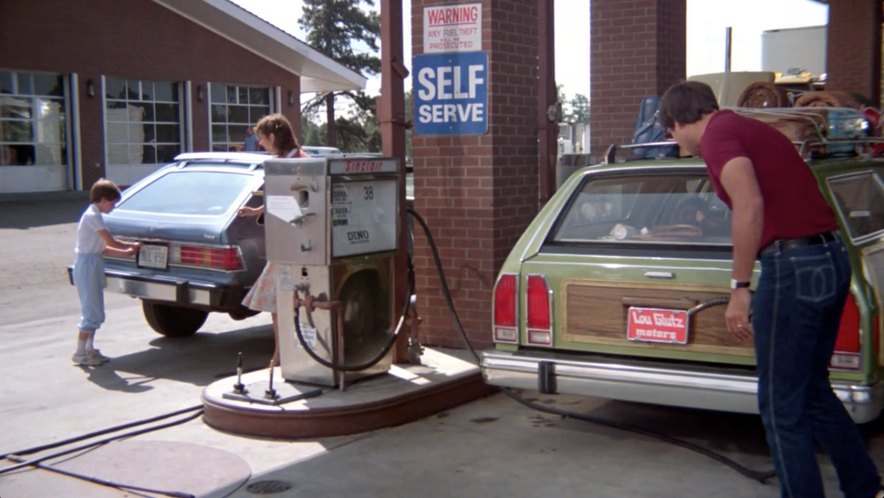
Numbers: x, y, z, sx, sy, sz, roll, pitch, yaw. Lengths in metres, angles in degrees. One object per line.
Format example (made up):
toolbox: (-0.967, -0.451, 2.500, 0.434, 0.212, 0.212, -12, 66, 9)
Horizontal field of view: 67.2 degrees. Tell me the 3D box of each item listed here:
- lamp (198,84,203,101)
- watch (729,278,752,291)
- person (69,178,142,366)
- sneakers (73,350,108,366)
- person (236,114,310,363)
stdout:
lamp: (-10.311, -6.659, 28.498, 0.103, 0.613, 0.300, 6, 13, 30)
watch: (2.152, 0.251, 4.747, 0.110, 0.041, 0.106, -3, 5, -14)
person: (-4.113, 0.300, 7.995, 0.536, 2.161, 0.716, 10, 15, 42)
sneakers: (-4.196, 1.290, 8.014, 0.432, 0.194, 0.162, 2, 9, -7)
person: (-1.808, -0.057, 7.182, 0.733, 2.738, 1.359, -3, 11, -13)
